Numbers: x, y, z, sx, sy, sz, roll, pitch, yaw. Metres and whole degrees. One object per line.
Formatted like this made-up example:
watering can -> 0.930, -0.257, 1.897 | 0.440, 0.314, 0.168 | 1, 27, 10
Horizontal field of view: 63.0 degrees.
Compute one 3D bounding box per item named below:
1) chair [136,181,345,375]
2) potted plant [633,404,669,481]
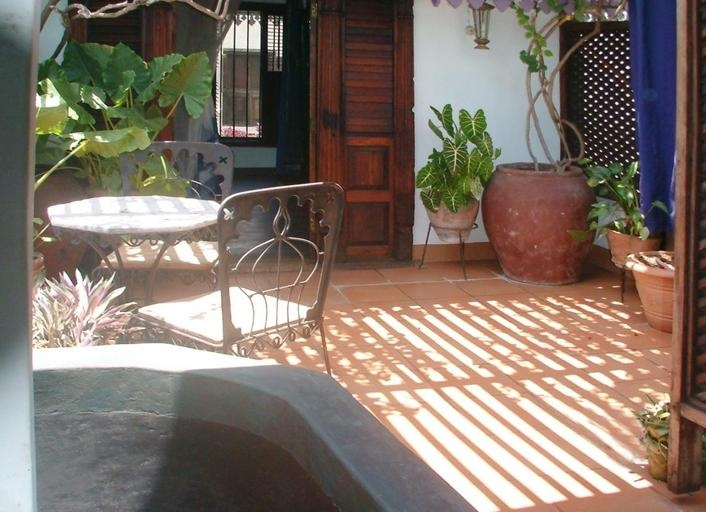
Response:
chair -> -0.575, 0.106, 2.916 | 0.729, 1.395, 0.789 | -12, 31, -34
potted plant -> 1.203, 0.731, 2.316 | 0.118, 0.259, 0.264 | 6, 14, 27
